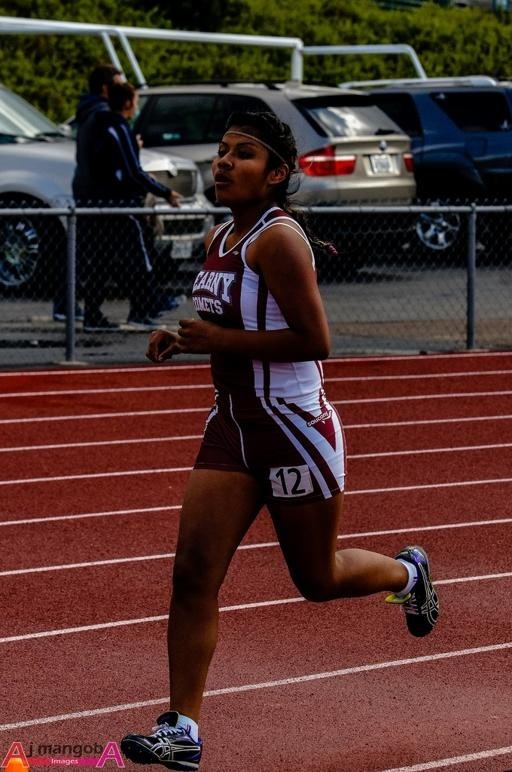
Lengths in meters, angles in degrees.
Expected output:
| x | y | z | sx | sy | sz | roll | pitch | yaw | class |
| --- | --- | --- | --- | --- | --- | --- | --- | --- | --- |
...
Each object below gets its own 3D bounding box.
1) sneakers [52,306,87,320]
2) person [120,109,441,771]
| x | y | z | sx | sy | sz | roll | pitch | yaw | class |
| --- | --- | --- | --- | --- | --- | --- | --- | --- | --- |
| -2.023 | -0.825 | 8.747 | 0.333 | 0.220 | 0.119 | -6 | 35 | -2 | sneakers |
| 0.028 | 0.087 | 1.994 | 0.416 | 1.477 | 1.019 | 2 | 5 | 23 | person |
